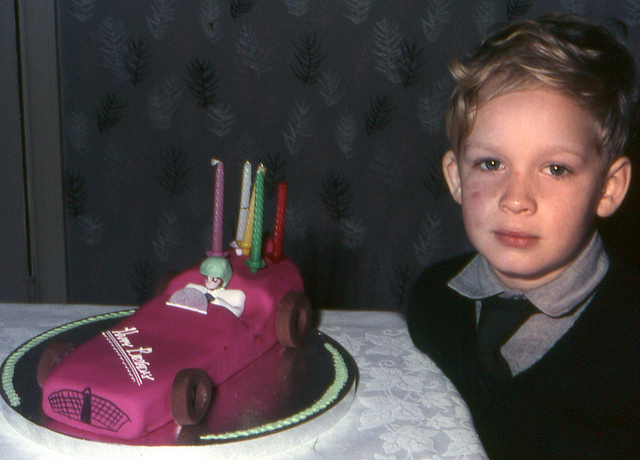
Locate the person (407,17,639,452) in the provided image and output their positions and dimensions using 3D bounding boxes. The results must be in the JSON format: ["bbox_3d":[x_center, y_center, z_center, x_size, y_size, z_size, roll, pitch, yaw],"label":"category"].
[{"bbox_3d":[0.476,-0.004,1.607,0.509,0.957,0.458,2,12,7],"label":"person"}]

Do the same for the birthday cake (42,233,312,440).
[{"bbox_3d":[-0.258,0.234,1.513,0.195,0.296,0.625,11,16,42],"label":"birthday cake"}]

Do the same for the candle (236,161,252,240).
[{"bbox_3d":[-0.170,-0.070,1.684,0.033,0.199,0.043,-1,12,-7],"label":"candle"}]

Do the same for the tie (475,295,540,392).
[{"bbox_3d":[0.459,0.283,1.671,0.069,0.217,0.140,17,-15,-36],"label":"tie"}]

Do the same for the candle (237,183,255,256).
[{"bbox_3d":[-0.156,-0.017,1.691,0.055,0.184,0.052,6,17,-7],"label":"candle"}]
